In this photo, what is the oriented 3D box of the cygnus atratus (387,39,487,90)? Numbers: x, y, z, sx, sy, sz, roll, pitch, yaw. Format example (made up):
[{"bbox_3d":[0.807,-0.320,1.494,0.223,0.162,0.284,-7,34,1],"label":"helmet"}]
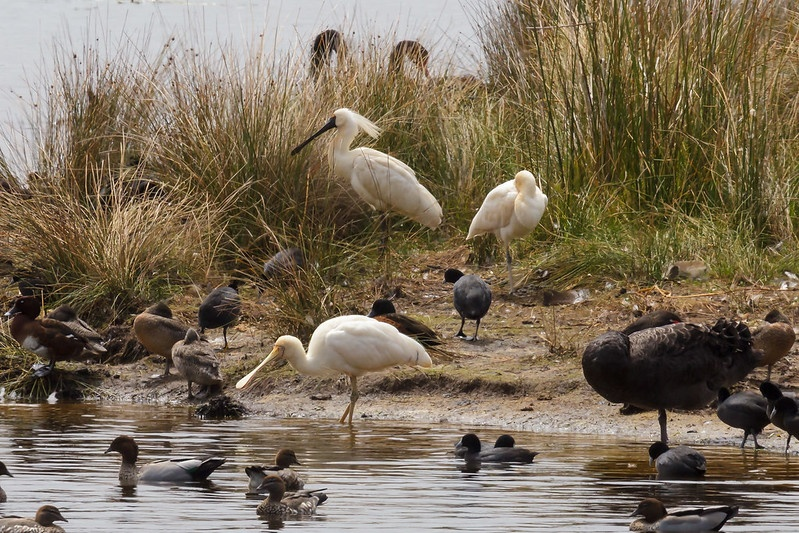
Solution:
[{"bbox_3d":[0.611,-3.535,19.218,1.394,0.861,2.245,3,13,7],"label":"cygnus atratus"}]

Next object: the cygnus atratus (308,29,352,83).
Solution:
[{"bbox_3d":[-1.228,-3.710,18.983,0.657,0.780,4.133,0,12,-5],"label":"cygnus atratus"}]
